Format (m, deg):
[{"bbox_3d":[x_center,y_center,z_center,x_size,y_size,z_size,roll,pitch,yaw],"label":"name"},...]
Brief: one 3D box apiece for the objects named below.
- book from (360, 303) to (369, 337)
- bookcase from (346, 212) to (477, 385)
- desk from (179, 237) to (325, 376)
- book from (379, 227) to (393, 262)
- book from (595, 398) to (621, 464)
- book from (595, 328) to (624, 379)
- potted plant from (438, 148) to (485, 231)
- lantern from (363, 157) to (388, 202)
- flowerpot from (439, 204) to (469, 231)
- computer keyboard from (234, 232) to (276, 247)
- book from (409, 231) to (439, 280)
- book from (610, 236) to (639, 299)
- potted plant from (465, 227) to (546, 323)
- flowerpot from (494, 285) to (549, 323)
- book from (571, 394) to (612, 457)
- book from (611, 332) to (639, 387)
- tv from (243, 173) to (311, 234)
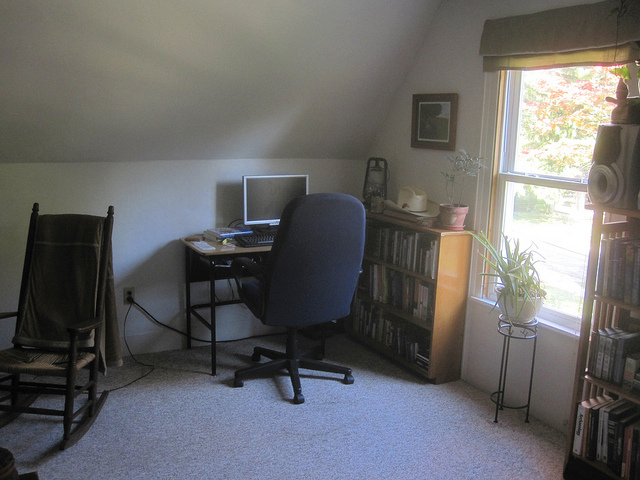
[{"bbox_3d":[0.364,0.666,4.258,0.082,0.244,0.257,6,0,9],"label":"book"},{"bbox_3d":[0.715,0.422,3.813,0.748,1.142,0.277,12,13,43],"label":"bookcase"},{"bbox_3d":[-0.761,0.459,3.968,0.541,0.941,0.623,-3,11,-31],"label":"desk"},{"bbox_3d":[0.509,0.032,3.974,0.114,0.213,0.211,3,12,5],"label":"book"},{"bbox_3d":[1.519,1.027,2.705,0.093,0.292,0.259,-3,5,33],"label":"book"},{"bbox_3d":[1.543,0.606,2.737,0.164,0.249,0.050,-4,11,-34],"label":"book"},{"bbox_3d":[0.984,-0.353,3.556,0.214,0.580,0.318,1,10,-32],"label":"potted plant"},{"bbox_3d":[0.470,-0.528,4.357,0.202,0.371,0.427,3,9,5],"label":"lantern"},{"bbox_3d":[0.911,-0.172,3.540,0.175,0.158,0.180,6,8,34],"label":"flowerpot"},{"bbox_3d":[-0.497,-0.009,3.862,0.307,0.079,0.252,1,10,-12],"label":"computer keyboard"},{"bbox_3d":[0.823,0.089,3.697,0.293,0.314,0.199,3,12,32],"label":"book"},{"bbox_3d":[1.553,0.145,2.611,0.150,0.276,0.266,5,7,43],"label":"book"},{"bbox_3d":[1.198,0.156,3.390,0.483,0.647,0.537,0,13,19],"label":"potted plant"},{"bbox_3d":[1.218,0.385,3.150,0.241,0.213,0.205,11,15,39],"label":"flowerpot"},{"bbox_3d":[1.458,1.015,2.756,0.269,0.319,0.106,-13,15,-35],"label":"book"},{"bbox_3d":[1.570,0.621,2.658,0.058,0.247,0.154,11,13,28],"label":"book"},{"bbox_3d":[-0.358,-0.307,4.175,0.542,0.509,0.125,-4,27,-15],"label":"tv"}]
